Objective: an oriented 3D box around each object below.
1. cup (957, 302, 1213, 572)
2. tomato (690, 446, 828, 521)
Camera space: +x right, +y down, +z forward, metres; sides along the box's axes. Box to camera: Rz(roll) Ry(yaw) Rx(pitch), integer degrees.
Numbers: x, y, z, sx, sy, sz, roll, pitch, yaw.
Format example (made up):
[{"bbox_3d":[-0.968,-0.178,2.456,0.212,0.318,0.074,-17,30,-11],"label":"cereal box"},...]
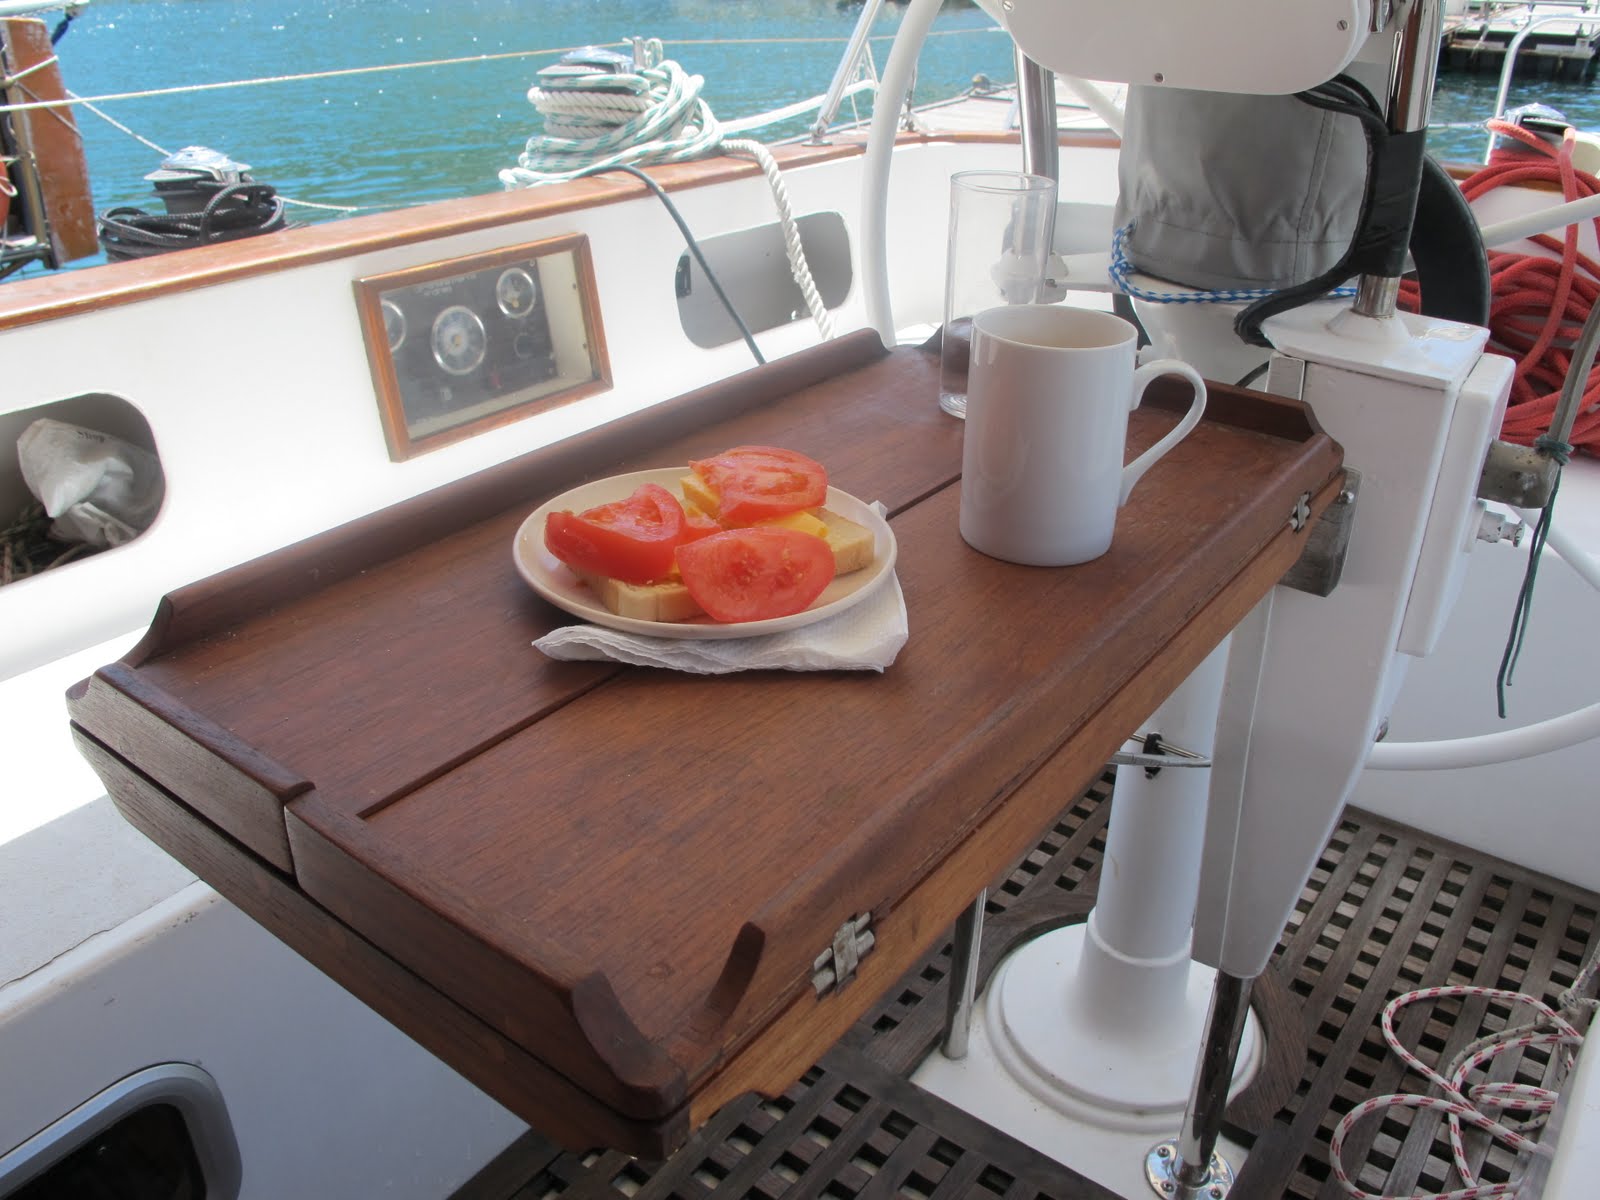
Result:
[{"bbox_3d":[0.199,-0.108,0.723,0.175,0.143,0.104,0,21,-8],"label":"cup"},{"bbox_3d":[-0.019,-0.080,0.694,0.066,0.018,0.066,-8,36,-23],"label":"tomato"}]
